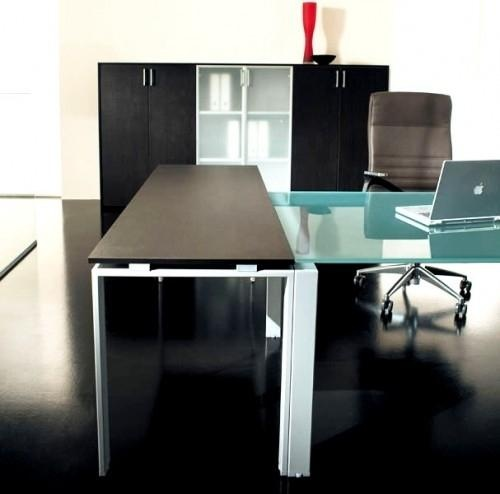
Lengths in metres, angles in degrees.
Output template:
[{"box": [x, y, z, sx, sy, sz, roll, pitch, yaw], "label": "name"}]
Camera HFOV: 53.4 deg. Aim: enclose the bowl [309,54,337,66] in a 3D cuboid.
[{"box": [0.871, -2.222, 5.961, 0.255, 0.139, 0.316, 1, 14, 2], "label": "bowl"}]
